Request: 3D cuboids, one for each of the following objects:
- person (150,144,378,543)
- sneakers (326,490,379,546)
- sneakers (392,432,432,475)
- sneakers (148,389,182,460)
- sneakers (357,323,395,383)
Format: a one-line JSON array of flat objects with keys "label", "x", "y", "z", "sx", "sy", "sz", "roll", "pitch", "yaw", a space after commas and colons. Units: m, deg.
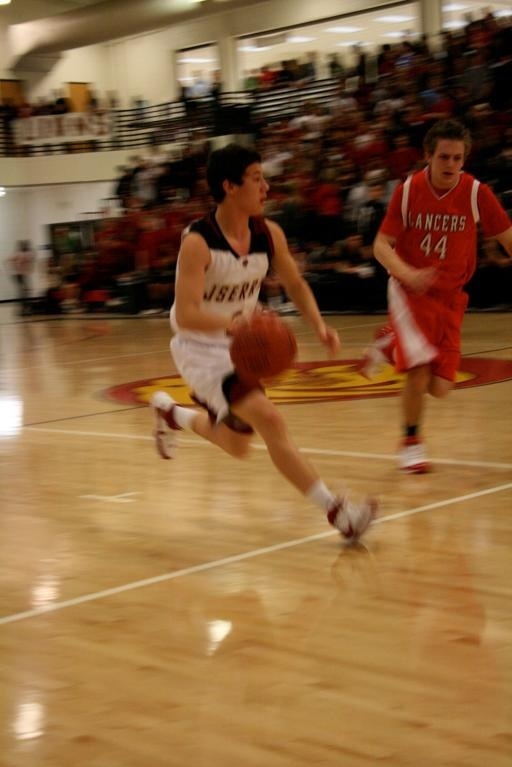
[{"label": "person", "x": -0.011, "y": -0.169, "z": 2.454, "sx": 0.617, "sy": 1.359, "sz": 0.901, "roll": -5, "pitch": 9, "yaw": -8}, {"label": "sneakers", "x": 0.319, "y": 0.445, "z": 2.157, "sx": 0.156, "sy": 0.154, "sz": 0.142, "roll": -29, "pitch": -15, "yaw": 12}, {"label": "sneakers", "x": 0.738, "y": 0.363, "z": 3.243, "sx": 0.229, "sy": 0.236, "sz": 0.162, "roll": -7, "pitch": -15, "yaw": 1}, {"label": "sneakers", "x": -0.388, "y": 0.201, "z": 3.054, "sx": 0.148, "sy": 0.328, "sz": 0.127, "roll": 2, "pitch": 23, "yaw": 25}, {"label": "sneakers", "x": 0.641, "y": -0.169, "z": 3.491, "sx": 0.151, "sy": 0.282, "sz": 0.190, "roll": 29, "pitch": -3, "yaw": 30}]
